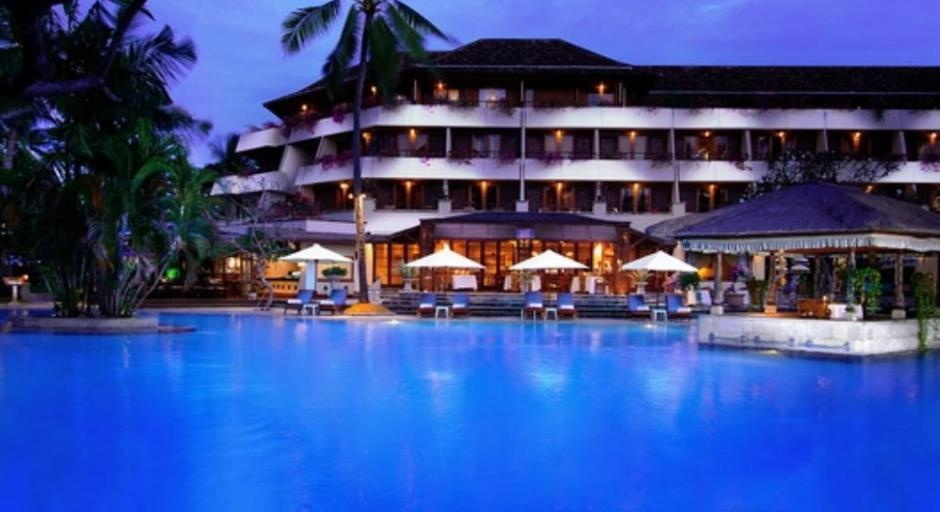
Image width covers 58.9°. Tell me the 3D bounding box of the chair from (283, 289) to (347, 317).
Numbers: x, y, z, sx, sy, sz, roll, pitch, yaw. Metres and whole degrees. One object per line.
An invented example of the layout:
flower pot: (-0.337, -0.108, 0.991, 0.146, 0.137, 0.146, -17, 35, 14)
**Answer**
chair: (-8.353, 2.477, 44.553, 2.754, 1.428, 2.519, -4, -6, 41)

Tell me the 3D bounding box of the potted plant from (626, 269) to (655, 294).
potted plant: (10.212, 1.501, 50.071, 1.626, 1.548, 1.682, -3, -5, 43)

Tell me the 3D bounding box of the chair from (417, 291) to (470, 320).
chair: (-1.515, 2.564, 43.423, 2.431, 1.265, 2.734, 2, -5, -15)

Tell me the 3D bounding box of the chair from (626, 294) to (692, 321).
chair: (9.771, 2.655, 42.529, 2.868, 1.324, 2.332, -3, -6, 30)

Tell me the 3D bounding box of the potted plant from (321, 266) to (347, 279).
potted plant: (-8.182, 1.044, 50.779, 0.911, 0.501, 0.958, -2, -5, 42)

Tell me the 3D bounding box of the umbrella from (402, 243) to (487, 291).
umbrella: (-0.931, 0.901, 44.010, 3.015, 1.471, 3.068, -3, 4, -34)
